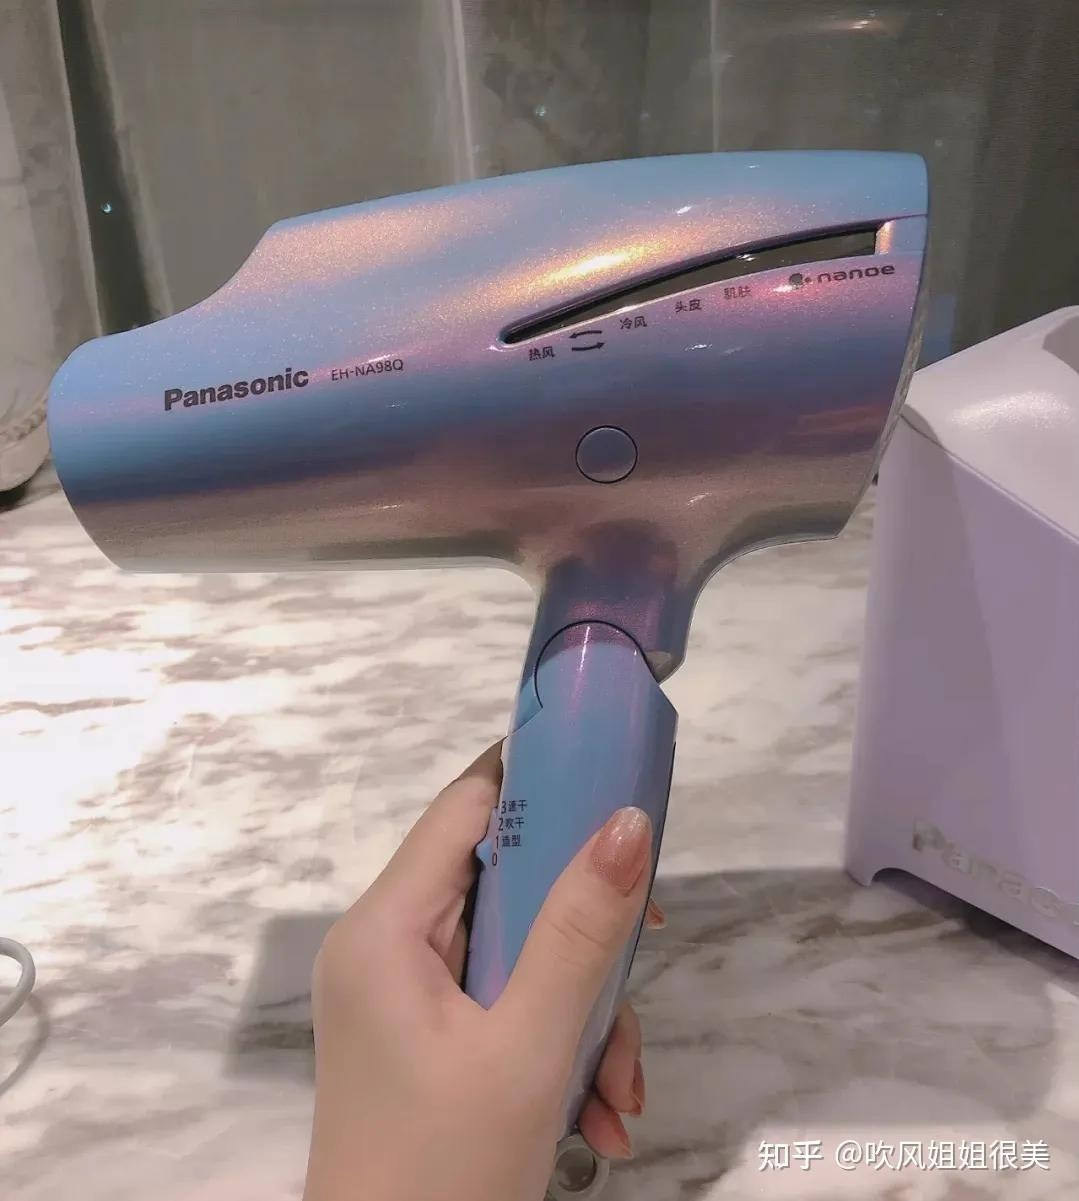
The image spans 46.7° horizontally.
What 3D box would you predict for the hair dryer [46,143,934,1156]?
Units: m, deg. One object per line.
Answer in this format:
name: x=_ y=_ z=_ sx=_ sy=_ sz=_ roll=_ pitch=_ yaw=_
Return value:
hair dryer: x=-0.012 y=-0.035 z=0.490 sx=0.245 sy=0.255 sz=0.227 roll=-31 pitch=44 yaw=-34
